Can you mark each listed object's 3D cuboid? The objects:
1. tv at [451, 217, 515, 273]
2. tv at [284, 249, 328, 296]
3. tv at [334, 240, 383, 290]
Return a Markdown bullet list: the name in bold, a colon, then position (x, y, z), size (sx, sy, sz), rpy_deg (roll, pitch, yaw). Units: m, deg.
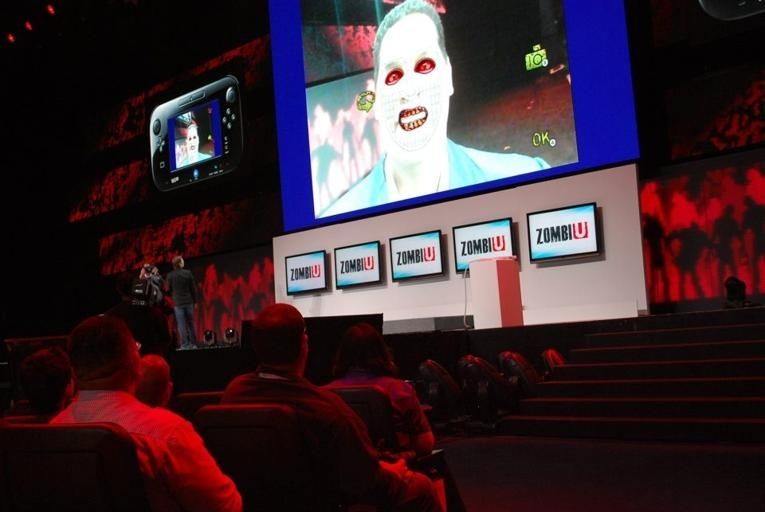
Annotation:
- **tv**: position (1.589, -0.191, 7.785), size (0.808, 0.616, 0.083), rpy_deg (-4, -5, 39)
- **tv**: position (-1.514, 0.326, 10.013), size (1.054, 0.792, 0.108), rpy_deg (-8, -9, 30)
- **tv**: position (-0.417, 0.143, 9.378), size (0.801, 0.725, 0.110), rpy_deg (-6, -5, 34)
